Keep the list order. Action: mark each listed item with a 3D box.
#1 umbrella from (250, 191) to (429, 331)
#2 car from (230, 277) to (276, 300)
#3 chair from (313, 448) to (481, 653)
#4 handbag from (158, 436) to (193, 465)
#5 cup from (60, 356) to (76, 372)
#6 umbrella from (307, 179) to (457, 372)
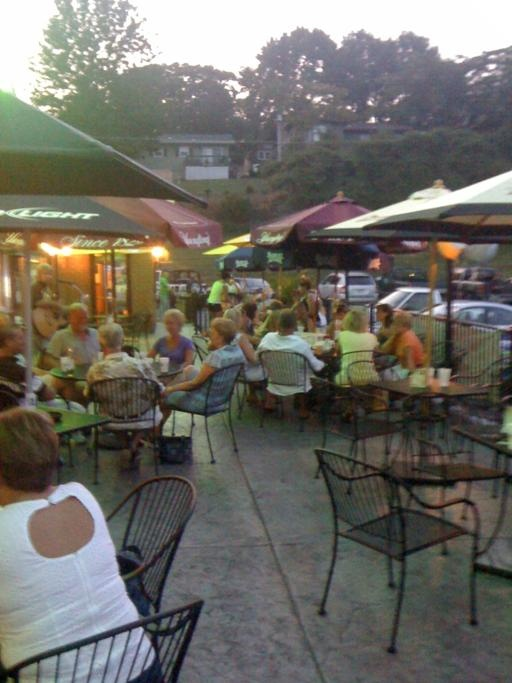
[{"bbox_3d":[0.962,-1.027,9.447,2.139,1.596,2.020,0,16,4],"label":"umbrella"},{"bbox_3d":[-0.133,-2.394,25.418,1.265,1.024,2.482,-4,19,-17],"label":"car"},{"bbox_3d":[0.772,1.167,3.542,0.774,1.016,0.690,-10,13,-32],"label":"chair"},{"bbox_3d":[-0.698,0.966,5.755,0.279,0.180,0.257,0,-3,-10],"label":"handbag"},{"bbox_3d":[-1.747,0.210,6.123,0.148,0.144,0.140,4,13,-1],"label":"cup"},{"bbox_3d":[0.823,-0.724,6.543,2.167,1.684,2.174,3,7,12],"label":"umbrella"}]
